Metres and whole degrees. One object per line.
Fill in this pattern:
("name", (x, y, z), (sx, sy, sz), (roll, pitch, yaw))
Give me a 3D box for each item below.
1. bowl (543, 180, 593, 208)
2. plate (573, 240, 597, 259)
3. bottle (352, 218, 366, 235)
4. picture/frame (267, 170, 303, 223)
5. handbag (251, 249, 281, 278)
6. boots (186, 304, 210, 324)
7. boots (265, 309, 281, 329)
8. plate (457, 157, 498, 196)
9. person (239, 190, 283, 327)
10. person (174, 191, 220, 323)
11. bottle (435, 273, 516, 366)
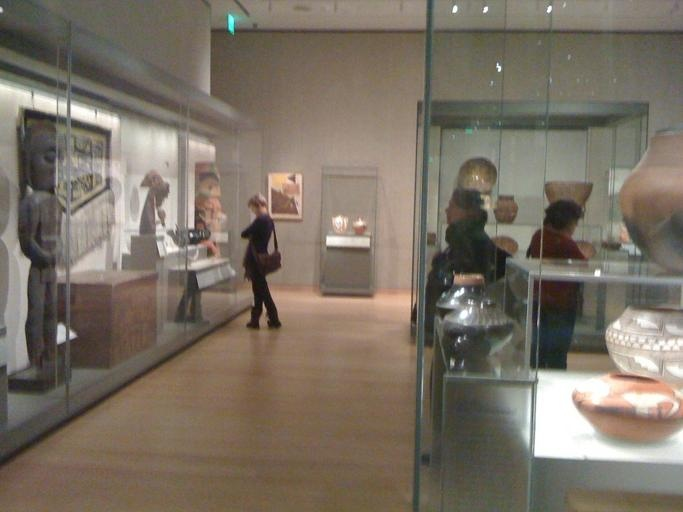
("bowl", (0.731, -0.196, 1.841), (0.149, 0.080, 0.016), (1, 5, -2))
("plate", (0.796, -0.021, 1.856), (0.061, 0.057, 0.012), (1, 5, 0))
("bottle", (0.099, -0.157, 3.154), (0.081, 0.107, 0.086), (2, 5, 0))
("picture/frame", (-0.302, -0.313, 2.987), (0.245, 0.342, 0.023), (-2, 3, -36))
("handbag", (-0.396, 0.032, 2.955), (0.116, 0.115, 0.048), (-8, 13, -28))
("boots", (-0.842, 0.337, 3.328), (0.094, 0.101, 0.100), (0, 4, 1))
("boots", (-0.385, 0.359, 3.258), (0.055, 0.130, 0.128), (0, 13, 9))
("plate", (0.433, -0.252, 1.817), (0.098, 0.125, 0.049), (16, 15, -6))
("person", (-0.431, 0.051, 3.090), (0.195, 0.756, 0.378), (0, 6, -6))
("person", (-0.817, -0.085, 3.171), (0.232, 0.820, 0.236), (3, 18, -8))
("bottle", (0.414, 0.189, 1.933), (0.255, 0.286, 0.259), (5, 6, 44))
